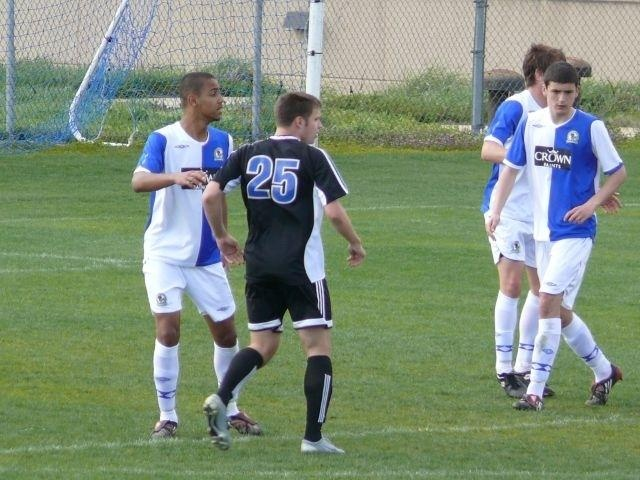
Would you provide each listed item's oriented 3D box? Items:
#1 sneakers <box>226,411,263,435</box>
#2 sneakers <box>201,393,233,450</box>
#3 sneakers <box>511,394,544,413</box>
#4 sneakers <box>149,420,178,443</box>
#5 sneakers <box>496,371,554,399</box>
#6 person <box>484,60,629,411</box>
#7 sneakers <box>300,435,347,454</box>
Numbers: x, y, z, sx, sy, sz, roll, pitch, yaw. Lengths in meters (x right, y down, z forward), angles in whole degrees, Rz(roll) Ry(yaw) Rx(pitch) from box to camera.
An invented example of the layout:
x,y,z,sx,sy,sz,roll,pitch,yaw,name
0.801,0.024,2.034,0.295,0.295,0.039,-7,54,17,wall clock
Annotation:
x,y,z,sx,sy,sz,roll,pitch,yaw,name
-0.658,1.638,12.698,0.280,0.121,0.158,29,-19,1,sneakers
-0.854,1.541,12.087,0.173,0.480,0.224,-16,-7,21,sneakers
1.909,1.489,13.055,0.238,0.113,0.136,2,-11,-2,sneakers
-1.332,1.651,12.532,0.277,0.134,0.201,-2,8,-24,sneakers
1.932,1.381,13.435,0.544,0.242,0.193,2,-1,-28,sneakers
2.211,-0.027,13.115,1.209,3.118,0.576,3,8,9,person
0.035,1.761,12.277,0.376,0.154,0.130,1,-1,-4,sneakers
